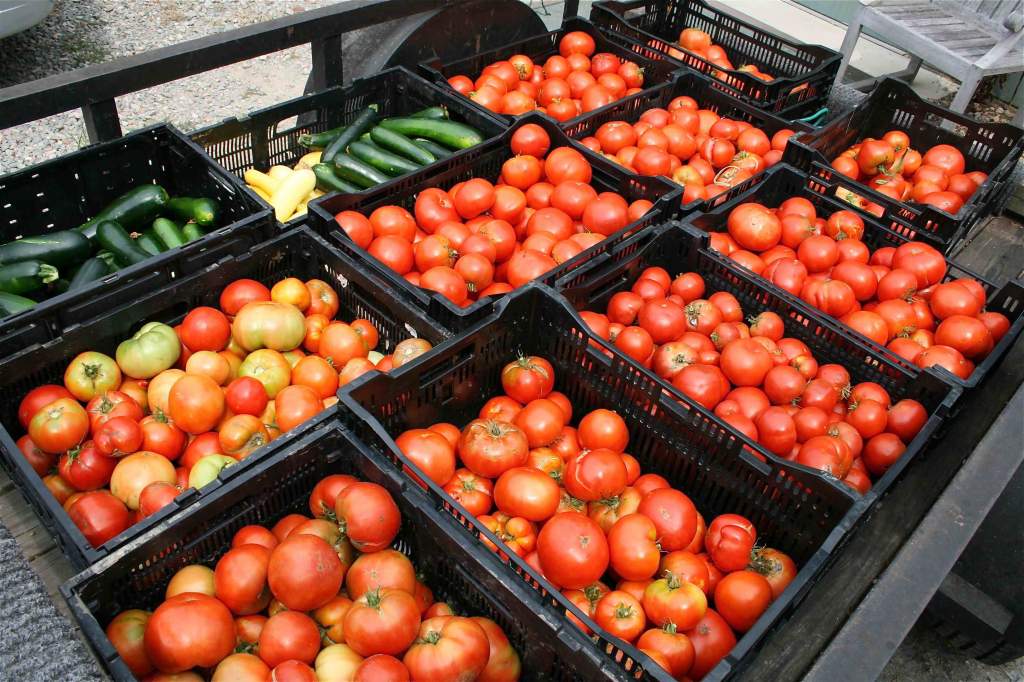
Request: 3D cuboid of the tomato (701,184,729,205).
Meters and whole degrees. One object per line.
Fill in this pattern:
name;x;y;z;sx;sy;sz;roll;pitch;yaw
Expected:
tomato;1.238;-0.882;4.623;0.120;0.128;0.149;8;16;9

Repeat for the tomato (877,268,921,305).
tomato;2.145;-0.309;4.277;0.175;0.176;0.183;23;29;-24

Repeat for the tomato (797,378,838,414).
tomato;1.519;0.270;3.817;0.152;0.152;0.153;13;29;-2

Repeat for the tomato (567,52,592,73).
tomato;0.486;-1.996;5.483;0.145;0.084;0.155;-1;57;-9

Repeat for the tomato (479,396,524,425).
tomato;-0.054;0.315;3.642;0.127;0.134;0.131;1;26;-6

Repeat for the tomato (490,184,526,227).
tomato;-0.027;-0.783;4.492;0.191;0.207;0.210;12;60;11

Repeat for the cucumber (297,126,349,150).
cucumber;-1.195;-1.251;4.766;0.417;0.124;0.142;-11;15;-22

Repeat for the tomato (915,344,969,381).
tomato;2.187;0.114;3.859;0.108;0.106;0.105;35;61;-5

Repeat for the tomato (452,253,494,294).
tomato;-0.199;-0.366;4.023;0.191;0.204;0.190;4;17;-2

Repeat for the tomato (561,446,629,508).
tomato;0.368;0.586;3.325;0.234;0.229;0.217;-5;85;-10

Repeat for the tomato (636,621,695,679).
tomato;0.593;1.201;2.951;0.155;0.152;0.192;21;98;-17

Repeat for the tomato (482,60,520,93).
tomato;-0.075;-1.757;5.253;0.210;0.225;0.221;3;48;26

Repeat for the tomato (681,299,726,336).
tomato;1.008;-0.128;4.076;0.183;0.173;0.192;-8;85;-43

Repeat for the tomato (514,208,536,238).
tomato;0.070;-0.689;4.466;0.135;0.138;0.138;-17;96;5

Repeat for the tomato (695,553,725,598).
tomato;0.860;1.015;3.300;0.160;0.168;0.165;-1;19;8

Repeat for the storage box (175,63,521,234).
storage box;-1.122;-1.006;5.047;1.673;0.567;1.175;-35;63;-25

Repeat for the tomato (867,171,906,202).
tomato;2.401;-0.978;4.862;0.165;0.199;0.162;-21;36;-9

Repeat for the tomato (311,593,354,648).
tomato;-0.712;1.093;3.004;0.152;0.152;0.152;21;82;-22

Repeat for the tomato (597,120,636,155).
tomato;0.682;-1.314;4.918;0.211;0.201;0.223;1;69;5

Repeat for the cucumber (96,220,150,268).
cucumber;-2.057;-0.498;3.972;0.115;0.110;0.274;-41;98;15

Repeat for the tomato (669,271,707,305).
tomato;0.963;-0.304;4.222;0.162;0.165;0.170;-20;102;2

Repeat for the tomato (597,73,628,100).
tomato;0.721;-1.813;5.393;0.175;0.203;0.196;8;32;30

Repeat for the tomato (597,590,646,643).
tomato;0.425;1.101;3.103;0.181;0.194;0.188;1;29;-5

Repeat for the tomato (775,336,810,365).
tomato;1.459;0.050;3.995;0.125;0.121;0.135;-22;81;-36

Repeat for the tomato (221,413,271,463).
tomato;-1.194;0.441;3.496;0.214;0.222;0.222;3;73;15

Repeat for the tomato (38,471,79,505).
tomato;-1.945;0.634;3.247;0.099;0.101;0.102;-27;35;20

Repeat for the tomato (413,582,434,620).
tomato;-0.369;1.075;3.140;0.097;0.104;0.102;13;12;-33

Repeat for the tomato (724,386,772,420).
tomato;1.162;0.302;3.736;0.156;0.174;0.177;16;83;4

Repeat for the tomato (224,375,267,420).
tomato;-1.236;0.257;3.584;0.164;0.184;0.189;9;89;2

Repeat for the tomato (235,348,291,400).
tomato;-1.194;0.136;3.666;0.218;0.219;0.232;12;91;-13

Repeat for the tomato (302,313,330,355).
tomato;-1.013;-0.038;3.888;0.155;0.159;0.168;15;93;-13

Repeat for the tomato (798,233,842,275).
tomato;1.748;-0.494;4.340;0.211;0.201;0.217;2;96;5

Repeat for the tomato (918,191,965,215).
tomato;2.691;-0.858;4.754;0.171;0.174;0.176;21;76;-23

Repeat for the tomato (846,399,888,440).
tomato;1.734;0.370;3.764;0.182;0.181;0.184;-18;94;-33

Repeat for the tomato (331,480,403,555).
tomato;-0.569;0.721;3.161;0.262;0.268;0.269;21;58;4

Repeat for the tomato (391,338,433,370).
tomato;-0.494;0.050;3.684;0.140;0.141;0.152;-19;81;-2

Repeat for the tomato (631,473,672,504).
tomato;0.637;0.667;3.479;0.108;0.117;0.115;6;44;48

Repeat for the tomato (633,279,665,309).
tomato;0.739;-0.264;4.145;0.150;0.140;0.155;-29;105;-44

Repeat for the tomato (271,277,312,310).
tomato;-1.142;-0.222;3.925;0.162;0.160;0.170;4;54;-36

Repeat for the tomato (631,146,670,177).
tomato;0.871;-1.098;4.702;0.232;0.184;0.234;1;61;4

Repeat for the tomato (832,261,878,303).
tomato;1.936;-0.345;4.283;0.227;0.173;0.188;26;92;14

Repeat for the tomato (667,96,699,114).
tomato;1.168;-1.619;5.238;0.122;0.126;0.124;-24;42;-10

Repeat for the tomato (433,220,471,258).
tomato;-0.308;-0.570;4.190;0.174;0.186;0.190;12;67;15

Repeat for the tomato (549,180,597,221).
tomato;0.348;-0.831;4.507;0.225;0.221;0.182;1;52;-4

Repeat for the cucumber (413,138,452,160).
cucumber;-0.493;-1.168;4.655;0.243;0.066;0.073;32;46;17

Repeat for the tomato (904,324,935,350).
tomato;2.215;-0.020;4.141;0.117;0.122;0.126;-5;92;0

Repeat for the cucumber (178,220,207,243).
cucumber;-1.722;-0.583;4.082;0.100;0.076;0.137;30;50;17

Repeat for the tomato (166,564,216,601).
tomato;-1.263;0.944;2.992;0.141;0.142;0.155;28;32;-43

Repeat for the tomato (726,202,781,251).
tomato;1.486;-0.693;4.521;0.378;0.298;0.377;-6;13;-34

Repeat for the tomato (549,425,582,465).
tomato;0.248;0.486;3.613;0.132;0.135;0.142;0;77;-10

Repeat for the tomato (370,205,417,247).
tomato;-0.657;-0.649;4.154;0.191;0.207;0.217;-12;52;-3
